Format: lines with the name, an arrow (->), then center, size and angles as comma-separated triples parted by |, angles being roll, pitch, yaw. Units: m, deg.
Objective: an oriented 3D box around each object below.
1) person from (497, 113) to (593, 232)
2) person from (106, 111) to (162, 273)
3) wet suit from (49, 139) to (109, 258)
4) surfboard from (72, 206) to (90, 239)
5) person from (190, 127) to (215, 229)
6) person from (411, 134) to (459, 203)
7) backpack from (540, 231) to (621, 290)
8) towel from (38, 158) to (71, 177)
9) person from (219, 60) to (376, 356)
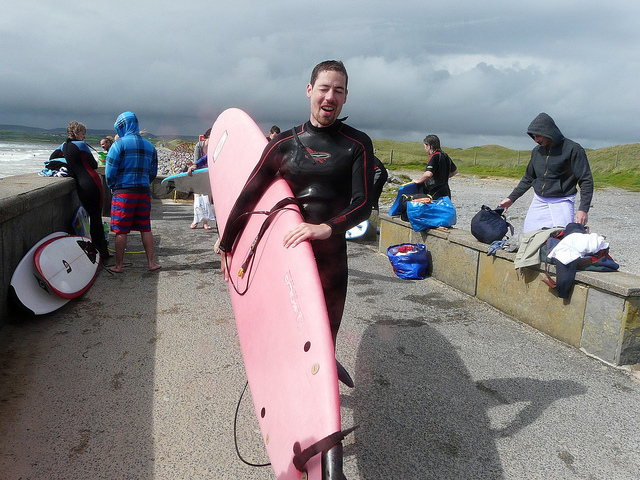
person -> 2.613, -0.723, 4.601 | 0.798, 1.287, 0.403 | 17, 25, 42
person -> -2.503, -0.575, 5.517 | 0.580, 2.114, 0.830 | 14, 23, 37
wet suit -> -3.403, -0.608, 5.976 | 0.662, 1.761, 0.561 | -10, 12, 21
surfboard -> -3.477, -0.246, 6.034 | 0.129, 0.542, 0.286 | 0, 30, -5
person -> -2.541, -1.268, 8.602 | 0.543, 2.039, 0.621 | 10, 9, 20
person -> 1.739, -1.104, 6.209 | 0.448, 0.966, 0.771 | 16, 24, 39
backpack -> 2.547, 0.267, 3.919 | 0.529, 0.179, 0.551 | -9, 18, -15
towel -> -3.862, -1.036, 6.035 | 0.396, 0.154, 0.312 | 0, 18, -31
person -> -0.165, 0.087, 2.691 | 0.912, 2.492, 0.663 | 4, 5, 7
